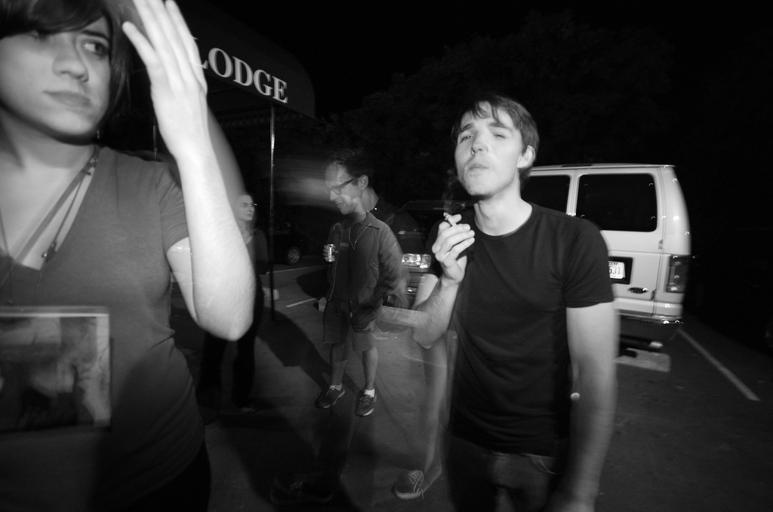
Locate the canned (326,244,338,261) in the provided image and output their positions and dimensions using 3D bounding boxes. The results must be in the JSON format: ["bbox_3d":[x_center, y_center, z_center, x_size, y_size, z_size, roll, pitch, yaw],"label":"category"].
[{"bbox_3d":[-0.521,-0.031,4.951,0.121,0.123,0.136,6,10,23],"label":"canned"}]

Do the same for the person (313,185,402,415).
[{"bbox_3d":[-0.228,0.491,4.776,0.837,1.766,0.605,6,13,18],"label":"person"}]

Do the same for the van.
[{"bbox_3d":[2.369,-0.247,6.922,3.050,1.627,1.860,6,7,40],"label":"van"}]
